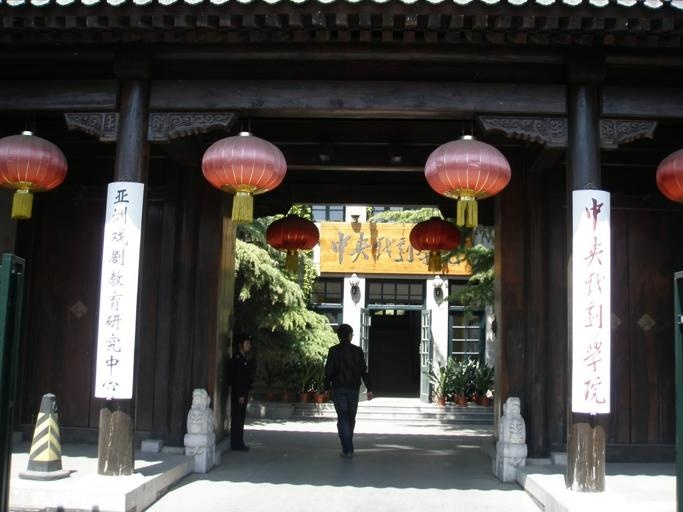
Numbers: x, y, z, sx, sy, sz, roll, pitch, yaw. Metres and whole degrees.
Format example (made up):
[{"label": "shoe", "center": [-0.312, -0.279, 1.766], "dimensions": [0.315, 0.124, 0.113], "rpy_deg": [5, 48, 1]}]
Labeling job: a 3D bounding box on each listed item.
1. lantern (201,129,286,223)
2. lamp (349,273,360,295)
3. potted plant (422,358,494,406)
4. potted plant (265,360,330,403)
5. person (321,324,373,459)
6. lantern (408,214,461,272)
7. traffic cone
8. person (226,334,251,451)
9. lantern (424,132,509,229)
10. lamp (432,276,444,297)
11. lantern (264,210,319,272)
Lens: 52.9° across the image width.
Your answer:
[{"label": "lantern", "center": [-0.957, -0.809, 6.785], "dimensions": [0.783, 0.969, 0.819], "rpy_deg": [-4, -10, 25]}, {"label": "lamp", "center": [0.278, 0.594, 15.085], "dimensions": [0.221, 0.462, 0.116], "rpy_deg": [0, -9, -2]}, {"label": "potted plant", "center": [2.357, 2.487, 13.656], "dimensions": [1.269, 0.839, 0.622], "rpy_deg": [-1, -9, 8]}, {"label": "potted plant", "center": [-0.801, 2.369, 13.218], "dimensions": [1.224, 1.375, 0.835], "rpy_deg": [0, -5, 7]}, {"label": "person", "center": [0.035, 1.703, 8.928], "dimensions": [0.538, 1.659, 0.625], "rpy_deg": [-4, -9, 24]}, {"label": "lantern", "center": [1.228, -0.179, 9.074], "dimensions": [0.642, 0.771, 0.654], "rpy_deg": [2, -1, 43]}, {"label": "traffic cone", "center": [-2.862, 1.705, 6.599], "dimensions": [0.567, 0.733, 0.583], "rpy_deg": [1, -4, 41]}, {"label": "person", "center": [-1.297, 1.711, 8.687], "dimensions": [0.261, 1.447, 0.301], "rpy_deg": [1, -9, -7]}, {"label": "lantern", "center": [1.221, -0.746, 6.798], "dimensions": [0.797, 0.916, 0.811], "rpy_deg": [4, -4, -3]}, {"label": "lamp", "center": [2.130, 0.696, 15.103], "dimensions": [0.278, 0.528, 0.165], "rpy_deg": [0, -9, 4]}, {"label": "lantern", "center": [-0.653, -0.205, 8.965], "dimensions": [0.712, 0.826, 0.698], "rpy_deg": [1, -2, -36]}]
